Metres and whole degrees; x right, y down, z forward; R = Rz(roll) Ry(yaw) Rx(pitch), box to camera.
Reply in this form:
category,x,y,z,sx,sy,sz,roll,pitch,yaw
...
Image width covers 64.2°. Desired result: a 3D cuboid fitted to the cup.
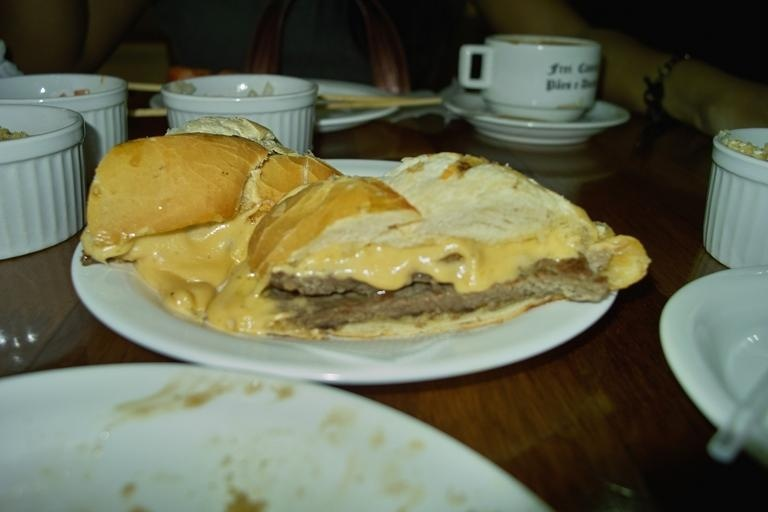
category,x,y,z,sx,sy,sz,roll,pitch,yaw
cup,0.316,-0.508,1.611,0.432,0.227,0.346,-4,22,-15

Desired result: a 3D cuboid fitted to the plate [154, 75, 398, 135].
category,x,y,z,sx,sy,sz,roll,pitch,yaw
plate,-0.204,-0.317,1.293,0.435,0.155,0.280,0,21,-10
